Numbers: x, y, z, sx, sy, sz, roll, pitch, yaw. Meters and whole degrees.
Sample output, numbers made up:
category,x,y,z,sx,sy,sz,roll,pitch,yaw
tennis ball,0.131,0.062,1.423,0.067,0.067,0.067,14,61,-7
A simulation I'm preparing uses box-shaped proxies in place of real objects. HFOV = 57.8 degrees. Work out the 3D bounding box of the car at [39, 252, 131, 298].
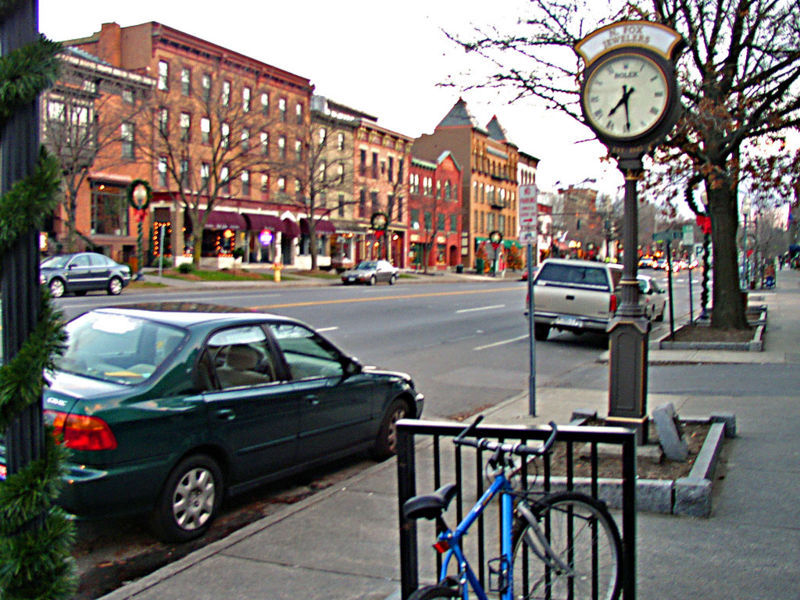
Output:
category,x,y,z,sx,sy,sz,roll,pitch,yaw
car,-11.671,-0.960,26.846,0.784,1.291,3.576,-1,2,25

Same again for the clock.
category,x,y,z,sx,sy,sz,roll,pitch,yaw
clock,2.395,-2.109,7.640,0.892,1.287,0.237,0,-27,17

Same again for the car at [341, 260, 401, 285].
category,x,y,z,sx,sy,sz,roll,pitch,yaw
car,-1.784,-1.621,43.985,1.464,1.412,4.065,-1,2,36

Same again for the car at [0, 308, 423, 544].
category,x,y,z,sx,sy,sz,roll,pitch,yaw
car,-1.567,0.970,7.294,1.676,1.286,4.343,-1,2,36
